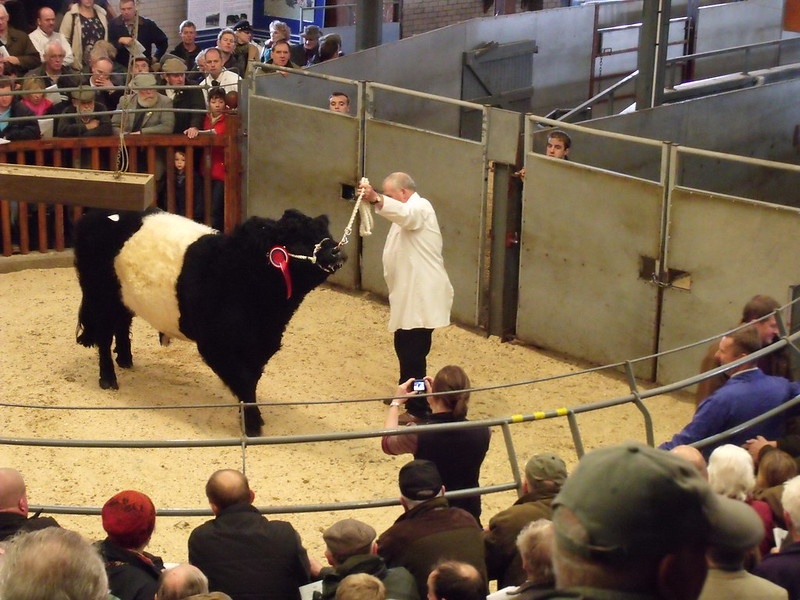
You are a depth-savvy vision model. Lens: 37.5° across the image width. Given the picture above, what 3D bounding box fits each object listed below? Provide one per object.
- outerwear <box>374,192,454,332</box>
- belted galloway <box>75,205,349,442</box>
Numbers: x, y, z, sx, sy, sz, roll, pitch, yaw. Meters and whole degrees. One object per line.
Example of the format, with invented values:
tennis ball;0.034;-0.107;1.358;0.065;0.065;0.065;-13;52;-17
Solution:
outerwear;0.133;-0.293;10.254;0.648;1.234;0.562;2;11;3
belted galloway;-1.684;0.272;10.124;2.014;1.381;0.658;9;16;17
